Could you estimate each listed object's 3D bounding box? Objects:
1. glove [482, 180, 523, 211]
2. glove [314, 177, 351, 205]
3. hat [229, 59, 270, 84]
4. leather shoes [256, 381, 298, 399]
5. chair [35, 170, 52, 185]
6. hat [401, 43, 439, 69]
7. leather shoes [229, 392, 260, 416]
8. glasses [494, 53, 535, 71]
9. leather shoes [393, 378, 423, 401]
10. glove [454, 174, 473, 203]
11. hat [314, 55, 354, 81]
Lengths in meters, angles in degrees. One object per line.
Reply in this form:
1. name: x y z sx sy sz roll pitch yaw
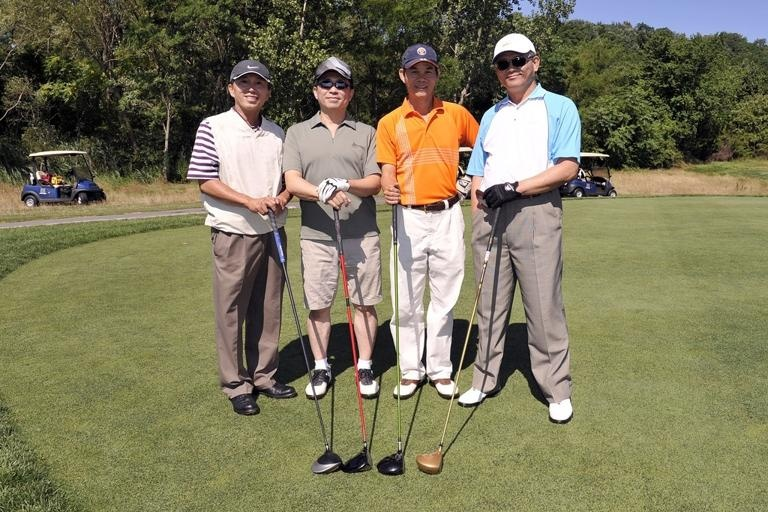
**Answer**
1. glove: 1.051 -0.534 5.084 0.277 0.221 0.141 -25 -25 14
2. glove: -0.472 -0.610 5.140 0.260 0.201 0.077 -40 -11 -16
3. hat: -1.273 -1.762 5.393 0.347 0.228 0.266 -6 11 -19
4. leather shoes: -1.050 1.323 5.585 0.379 0.158 0.172 -3 4 9
5. chair: -15.538 -3.575 26.020 0.619 0.561 1.848 -8 12 -30
6. hat: 0.321 -1.900 5.382 0.211 0.167 0.309 -1 21 -3
7. leather shoes: -1.294 1.378 5.292 0.219 0.129 0.315 -8 12 -30
8. glasses: 1.179 -1.759 5.157 0.333 0.141 0.094 0 10 12
9. leather shoes: 0.200 1.281 5.496 0.166 0.114 0.320 -3 -4 22
10. glove: 0.785 -0.671 5.659 0.135 0.268 0.091 2 7 -5
11. hat: -0.497 -1.813 5.483 0.322 0.246 0.290 -4 10 -10
